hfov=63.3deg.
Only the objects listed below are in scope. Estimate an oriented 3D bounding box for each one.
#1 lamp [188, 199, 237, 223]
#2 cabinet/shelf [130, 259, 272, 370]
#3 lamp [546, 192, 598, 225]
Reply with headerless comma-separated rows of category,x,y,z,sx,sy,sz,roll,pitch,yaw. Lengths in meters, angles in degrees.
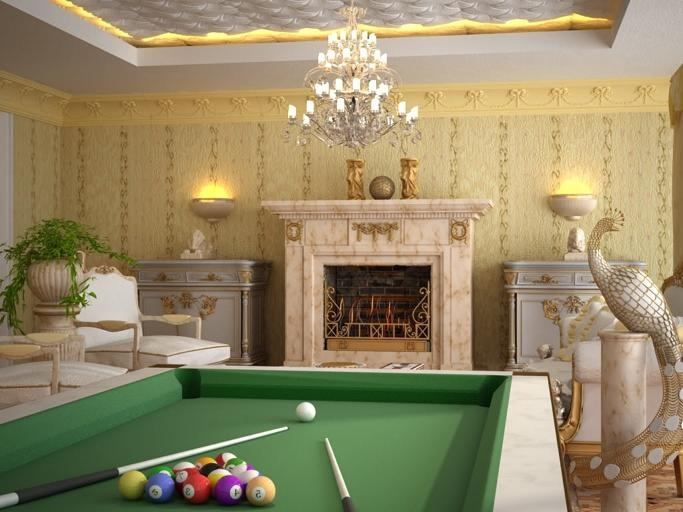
lamp,-1.450,-0.513,6.224,0.493,0.281,0.306,-1,6,-3
cabinet/shelf,-1.247,0.435,6.097,1.786,1.545,1.048,-1,-3,7
lamp,2.387,-0.471,5.663,0.339,0.201,0.347,0,0,39
